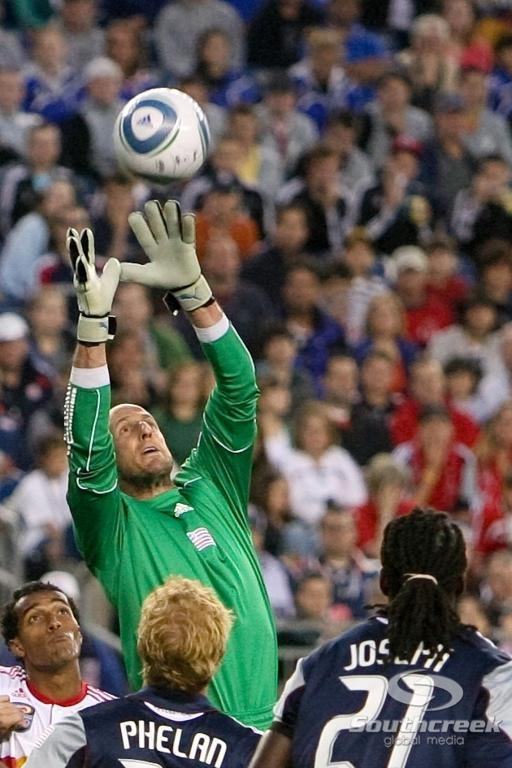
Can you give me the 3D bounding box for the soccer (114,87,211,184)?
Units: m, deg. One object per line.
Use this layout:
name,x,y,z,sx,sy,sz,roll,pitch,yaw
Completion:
soccer,-0.366,-0.958,5.985,0.369,0.309,0.370,8,45,-2

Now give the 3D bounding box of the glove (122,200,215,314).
glove,-0.316,-0.514,5.833,0.364,0.442,0.347,6,46,-5
